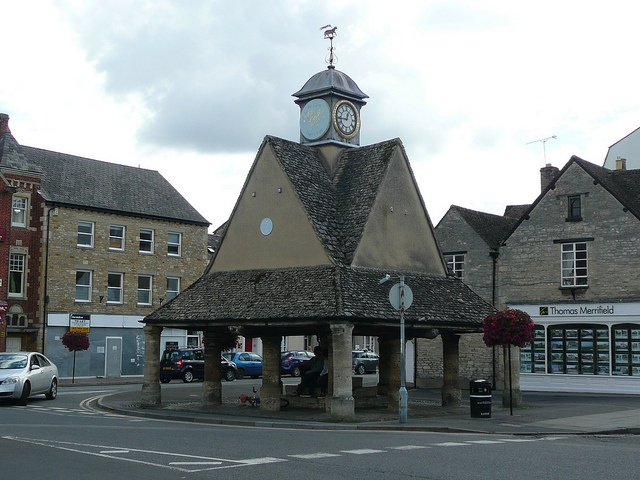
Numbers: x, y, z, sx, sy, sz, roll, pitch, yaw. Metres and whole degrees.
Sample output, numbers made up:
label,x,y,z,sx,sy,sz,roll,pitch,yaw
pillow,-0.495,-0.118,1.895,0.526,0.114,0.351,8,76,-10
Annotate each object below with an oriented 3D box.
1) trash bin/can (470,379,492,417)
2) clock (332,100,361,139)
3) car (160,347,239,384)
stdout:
label,x,y,z,sx,sy,sz,roll,pitch,yaw
trash bin/can,5.308,5.222,28.314,0.660,1.203,0.543,-1,-12,6
clock,1.102,-4.845,34.729,1.527,1.440,0.125,-2,0,-42
car,-7.005,7.108,49.253,3.830,1.720,2.226,-1,-3,-32
